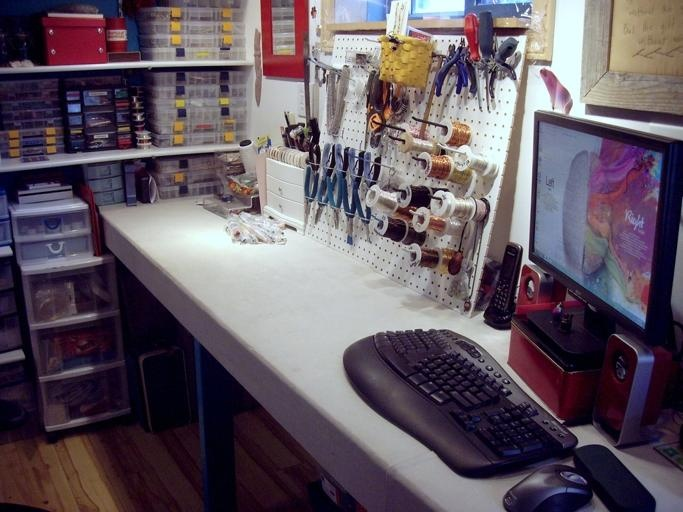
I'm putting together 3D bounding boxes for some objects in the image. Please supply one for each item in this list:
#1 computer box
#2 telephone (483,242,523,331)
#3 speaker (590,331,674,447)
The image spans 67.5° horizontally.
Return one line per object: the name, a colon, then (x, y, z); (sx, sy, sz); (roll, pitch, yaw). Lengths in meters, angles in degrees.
computer box: (-0.936, 0.693, 2.705); (0.227, 0.442, 0.144); (-9, 17, -29)
telephone: (0.457, 0.102, 1.474); (0.065, 0.260, 0.102); (5, 17, 3)
speaker: (0.640, 0.270, 1.062); (0.187, 0.222, 0.086); (-5, 21, -12)
